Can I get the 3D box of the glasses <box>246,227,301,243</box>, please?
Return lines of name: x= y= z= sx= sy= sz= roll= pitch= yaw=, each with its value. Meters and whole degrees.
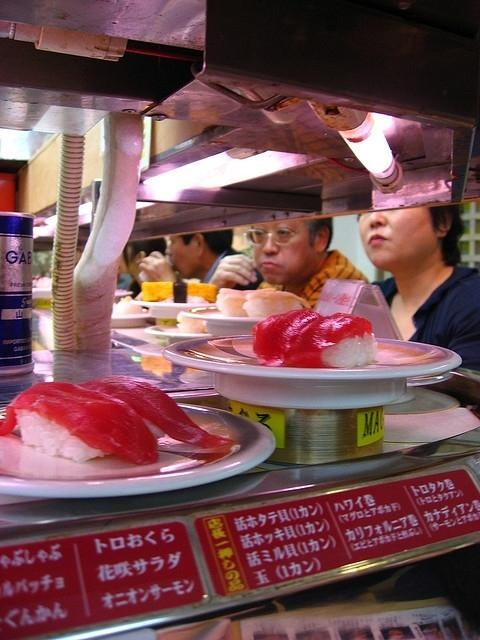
glasses: x=0.138 y=-0.427 z=2.677 sx=0.158 sy=0.039 sz=0.152 roll=-2 pitch=4 yaw=-42

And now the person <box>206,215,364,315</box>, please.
person: x=0.285 y=-0.308 z=2.866 sx=0.622 sy=0.346 sz=0.788 roll=4 pitch=7 yaw=33
